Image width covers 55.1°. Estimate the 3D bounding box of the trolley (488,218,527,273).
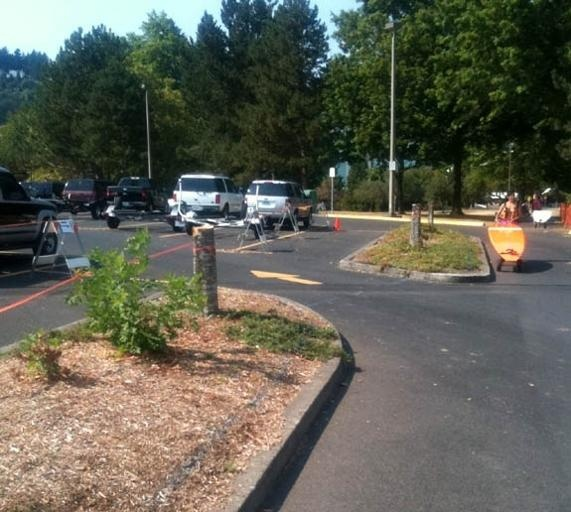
[{"bbox_3d":[5.542,-0.279,13.752,0.758,1.159,1.740,4,7,23],"label":"trolley"}]
